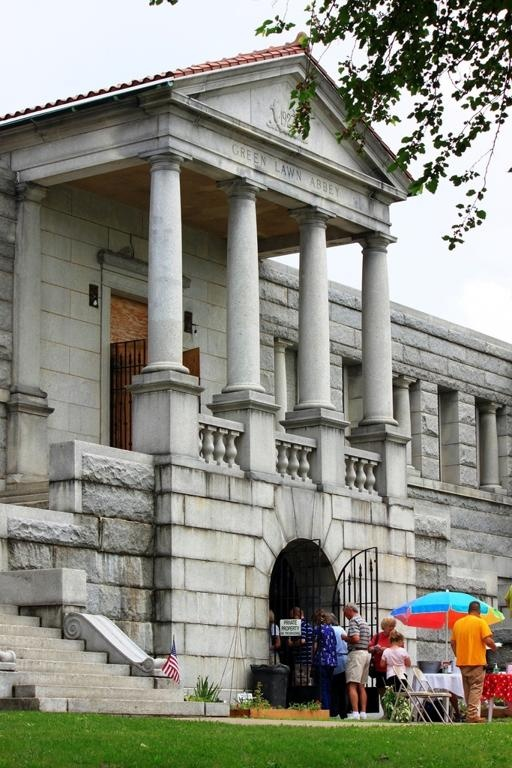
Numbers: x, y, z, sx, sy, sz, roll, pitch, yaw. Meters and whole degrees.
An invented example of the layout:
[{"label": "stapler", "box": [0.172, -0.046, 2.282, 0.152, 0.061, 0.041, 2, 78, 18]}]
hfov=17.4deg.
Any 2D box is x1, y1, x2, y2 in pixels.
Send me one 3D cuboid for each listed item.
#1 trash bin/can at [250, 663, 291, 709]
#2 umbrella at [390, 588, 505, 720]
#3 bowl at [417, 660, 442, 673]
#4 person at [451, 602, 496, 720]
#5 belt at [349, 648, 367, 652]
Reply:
[{"label": "trash bin/can", "box": [0.135, 3.777, 20.992, 0.468, 0.676, 0.504, -8, -11, 32]}, {"label": "umbrella", "box": [2.117, 3.041, 19.637, 1.391, 1.584, 1.378, -4, -17, 14]}, {"label": "bowl", "box": [2.353, 3.803, 22.646, 0.343, 0.149, 0.346, 0, -6, 0]}, {"label": "person", "box": [2.462, 3.110, 18.881, 0.458, 1.331, 0.986, 1, -10, -2]}, {"label": "belt", "box": [1.207, 3.165, 20.017, 0.233, 0.057, 0.154, -1, -10, 11]}]
